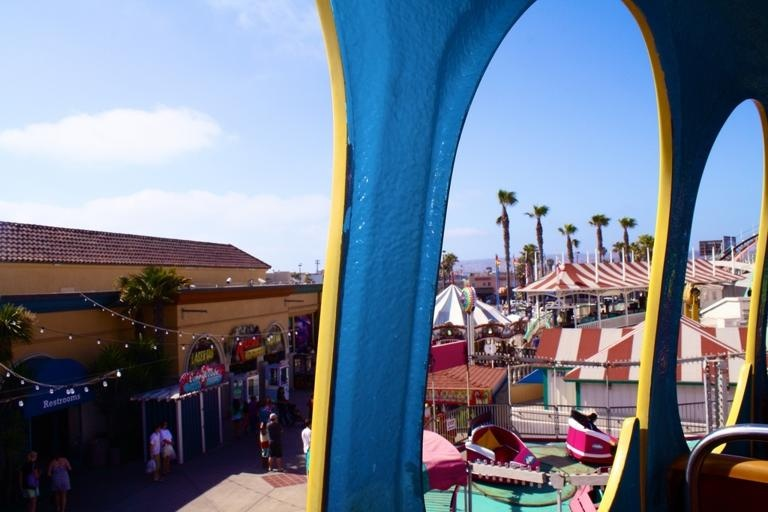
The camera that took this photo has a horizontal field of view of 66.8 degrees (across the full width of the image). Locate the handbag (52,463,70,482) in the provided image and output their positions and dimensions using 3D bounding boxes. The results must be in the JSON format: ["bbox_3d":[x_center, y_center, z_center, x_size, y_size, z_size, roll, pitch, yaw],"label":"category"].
[{"bbox_3d":[-6.987,4.668,12.574,0.335,0.493,0.255,5,-25,-30],"label":"handbag"}]

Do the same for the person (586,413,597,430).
[{"bbox_3d":[5.110,4.009,14.275,0.222,0.337,0.932,-1,1,19],"label":"person"}]
